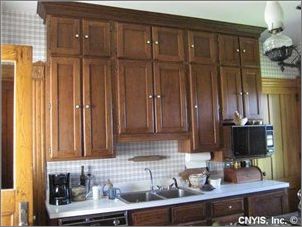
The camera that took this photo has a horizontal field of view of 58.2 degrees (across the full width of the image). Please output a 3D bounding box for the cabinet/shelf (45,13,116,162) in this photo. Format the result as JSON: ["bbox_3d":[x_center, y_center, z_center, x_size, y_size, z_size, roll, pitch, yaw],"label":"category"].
[{"bbox_3d":[-0.944,-0.317,3.419,0.990,1.893,0.463,-3,5,-37],"label":"cabinet/shelf"}]

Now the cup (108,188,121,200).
[{"bbox_3d":[-0.507,1.028,3.469,0.186,0.141,0.104,-6,-10,31],"label":"cup"}]

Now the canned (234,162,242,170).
[{"bbox_3d":[1.376,0.831,4.303,0.094,0.169,0.093,1,-11,8],"label":"canned"}]

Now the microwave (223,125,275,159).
[{"bbox_3d":[1.441,0.409,3.932,0.800,0.456,0.201,-5,-3,-21],"label":"microwave"}]

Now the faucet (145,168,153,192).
[{"bbox_3d":[-0.019,0.928,3.787,0.103,0.243,0.188,-7,-3,-2],"label":"faucet"}]

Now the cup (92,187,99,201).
[{"bbox_3d":[-0.690,1.002,3.379,0.085,0.110,0.106,-5,-3,-32],"label":"cup"}]

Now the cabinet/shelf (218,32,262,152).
[{"bbox_3d":[1.283,-0.521,4.159,0.858,1.447,0.393,-1,-4,-24],"label":"cabinet/shelf"}]

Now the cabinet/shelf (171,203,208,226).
[{"bbox_3d":[0.458,1.230,3.305,0.363,0.171,0.233,2,-11,-22],"label":"cabinet/shelf"}]

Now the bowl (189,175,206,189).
[{"bbox_3d":[0.637,0.965,3.788,0.172,0.147,0.208,-5,-13,29],"label":"bowl"}]
